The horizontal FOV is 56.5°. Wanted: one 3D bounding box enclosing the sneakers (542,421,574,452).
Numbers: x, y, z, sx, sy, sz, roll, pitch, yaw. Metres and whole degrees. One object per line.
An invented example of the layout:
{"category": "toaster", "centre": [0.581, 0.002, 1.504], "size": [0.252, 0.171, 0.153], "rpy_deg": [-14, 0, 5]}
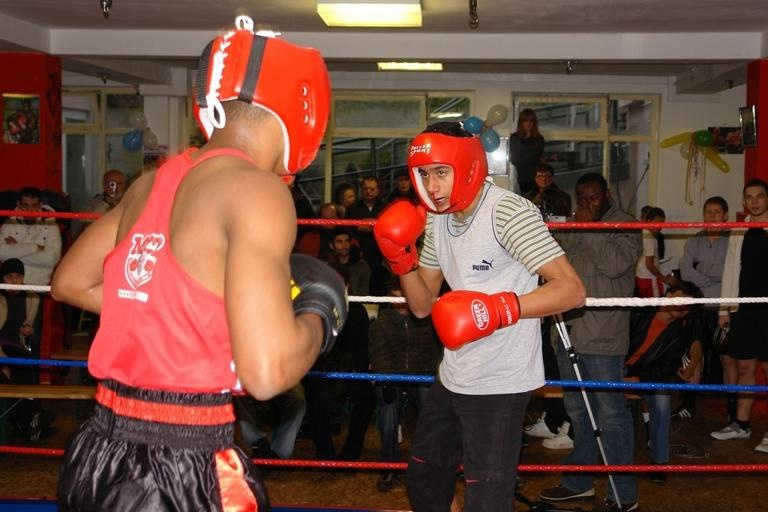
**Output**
{"category": "sneakers", "centre": [1.248, 1.327, 5.194], "size": [0.293, 0.197, 0.107], "rpy_deg": [2, -6, 5]}

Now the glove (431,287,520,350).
{"category": "glove", "centre": [0.366, 0.247, 2.888], "size": [0.331, 0.201, 0.119], "rpy_deg": [-12, -17, -4]}

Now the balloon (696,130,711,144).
{"category": "balloon", "centre": [3.797, -1.420, 8.510], "size": [0.164, 0.160, 0.161], "rpy_deg": [5, 21, 18]}

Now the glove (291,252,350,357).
{"category": "glove", "centre": [-0.209, 0.173, 2.317], "size": [0.226, 0.300, 0.120], "rpy_deg": [-1, -24, 30]}

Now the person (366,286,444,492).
{"category": "person", "centre": [0.113, 0.832, 4.917], "size": [0.497, 1.181, 0.388], "rpy_deg": [-8, 3, 7]}

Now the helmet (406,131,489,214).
{"category": "helmet", "centre": [0.264, -0.331, 3.259], "size": [0.390, 0.385, 0.292], "rpy_deg": [14, -16, -34]}

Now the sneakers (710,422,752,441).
{"category": "sneakers", "centre": [2.634, 1.344, 5.457], "size": [0.332, 0.139, 0.121], "rpy_deg": [-1, -3, 2]}

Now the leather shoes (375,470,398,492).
{"category": "leather shoes", "centre": [0.020, 1.421, 4.475], "size": [0.104, 0.048, 0.182], "rpy_deg": [-2, -2, 10]}

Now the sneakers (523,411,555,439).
{"category": "sneakers", "centre": [1.161, 1.294, 5.434], "size": [0.300, 0.216, 0.108], "rpy_deg": [2, -3, 31]}

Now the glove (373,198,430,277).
{"category": "glove", "centre": [0.064, -0.083, 3.408], "size": [0.262, 0.341, 0.152], "rpy_deg": [-19, -3, -11]}

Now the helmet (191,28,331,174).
{"category": "helmet", "centre": [-0.405, -0.493, 2.509], "size": [0.497, 0.480, 0.379], "rpy_deg": [11, -2, -22]}

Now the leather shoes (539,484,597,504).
{"category": "leather shoes", "centre": [1.124, 1.448, 4.381], "size": [0.319, 0.126, 0.118], "rpy_deg": [3, -7, 0]}
